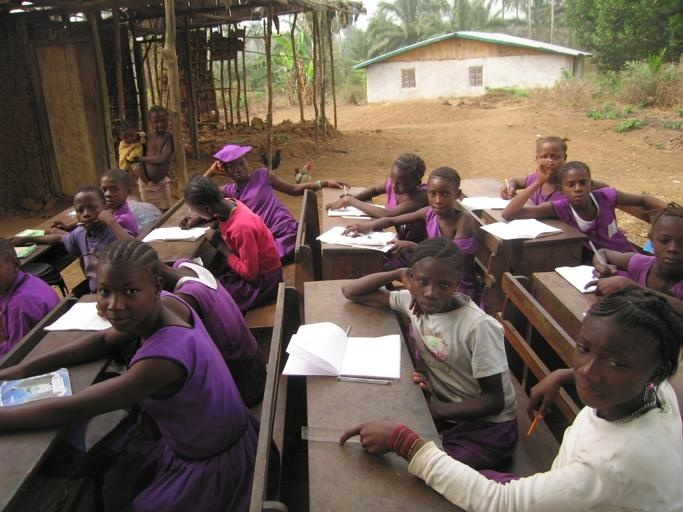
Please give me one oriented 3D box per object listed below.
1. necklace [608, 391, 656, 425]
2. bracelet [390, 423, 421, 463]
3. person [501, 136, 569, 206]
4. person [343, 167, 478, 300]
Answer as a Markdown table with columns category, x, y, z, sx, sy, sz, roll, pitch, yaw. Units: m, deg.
| category | x | y | z | sx | sy | sz | roll | pitch | yaw |
| --- | --- | --- | --- | --- | --- | --- | --- | --- | --- |
| necklace | 1.068 | 0.543 | 1.821 | 0.136 | 0.034 | 0.114 | -22 | 7 | 9 |
| bracelet | 0.268 | 0.786 | 2.086 | 0.115 | 0.073 | 0.139 | -33 | -4 | -19 |
| person | 2.014 | -0.829 | 4.956 | 0.473 | 0.677 | 0.835 | -10 | 18 | -40 |
| person | 0.558 | -0.184 | 4.067 | 0.728 | 1.133 | 0.977 | -18 | 28 | -29 |
